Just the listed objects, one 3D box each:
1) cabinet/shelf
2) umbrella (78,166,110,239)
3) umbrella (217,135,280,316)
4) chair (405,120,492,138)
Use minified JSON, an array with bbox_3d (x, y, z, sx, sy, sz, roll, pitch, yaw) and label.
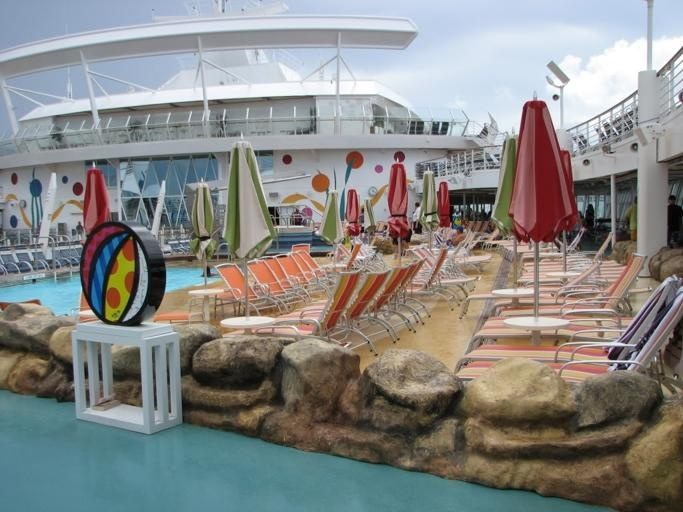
[{"bbox_3d":[-1.909,1.106,4.908,0.854,0.807,0.366,2,5,36],"label":"cabinet/shelf"},{"bbox_3d":[-3.665,-0.805,8.135,0.381,1.002,0.787,-9,14,-25],"label":"umbrella"},{"bbox_3d":[-1.018,-0.282,5.975,0.542,1.966,0.811,-6,13,-12],"label":"umbrella"},{"bbox_3d":[6.257,-7.483,32.307,4.455,1.276,2.217,1,14,20],"label":"chair"}]
